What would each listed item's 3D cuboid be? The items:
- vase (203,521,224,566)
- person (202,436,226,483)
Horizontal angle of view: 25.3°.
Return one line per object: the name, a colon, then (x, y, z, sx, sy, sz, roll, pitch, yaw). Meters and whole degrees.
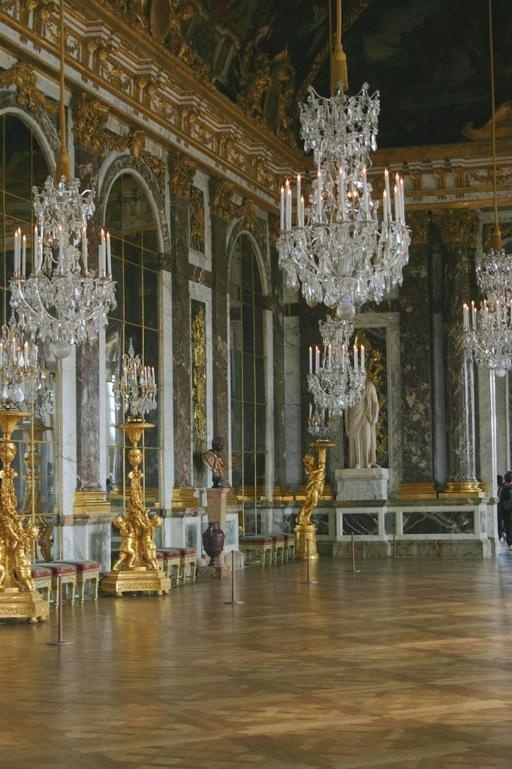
vase: (-0.524, 1.960, 13.960, 0.249, 0.527, 0.425, -2, -5, -3)
person: (-0.556, 0.965, 14.579, 0.291, 0.823, 0.611, -1, 0, -2)
